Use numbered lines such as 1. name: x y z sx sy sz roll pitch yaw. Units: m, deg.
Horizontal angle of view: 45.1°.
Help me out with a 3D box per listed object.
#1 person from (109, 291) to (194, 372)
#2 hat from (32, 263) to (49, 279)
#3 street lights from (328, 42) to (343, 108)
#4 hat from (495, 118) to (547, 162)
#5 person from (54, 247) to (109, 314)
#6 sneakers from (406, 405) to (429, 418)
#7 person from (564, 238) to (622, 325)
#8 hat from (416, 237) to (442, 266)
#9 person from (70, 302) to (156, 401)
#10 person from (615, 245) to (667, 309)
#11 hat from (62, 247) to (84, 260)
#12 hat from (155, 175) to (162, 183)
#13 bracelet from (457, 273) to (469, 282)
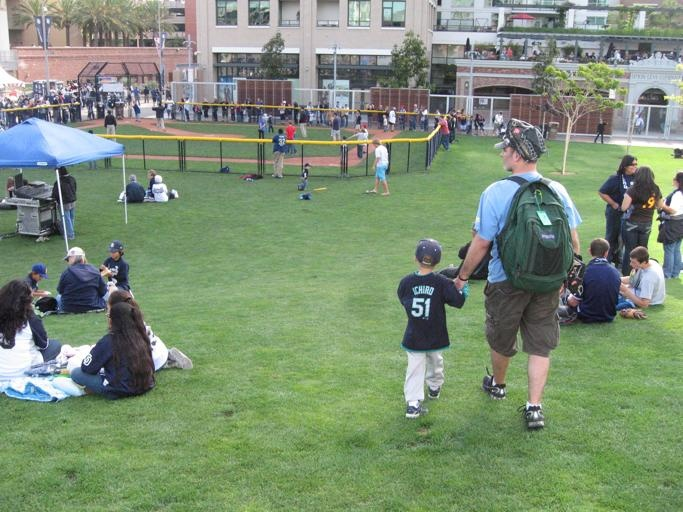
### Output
1. person: -2.826 1.241 12.000 0.879 0.615 1.507 -18 -31 32
2. hat: -5.173 0.255 14.054 0.223 0.274 0.284 -2 12 -19
3. street lights: -0.486 -12.568 57.419 0.906 4.508 0.852 4 9 17
4. hat: 2.327 -1.580 10.574 0.571 0.575 0.706 -27 25 -35
5. person: -4.771 0.440 15.006 0.961 1.173 1.255 0 1 -39
6. sneakers: 1.018 2.025 10.838 0.332 0.145 0.121 -6 8 -40
7. person: 4.021 0.409 13.570 1.157 1.314 1.064 0 0 27
8. hat: 1.130 -0.056 10.780 0.315 0.354 0.365 2 11 4
9. person: -3.201 1.222 11.790 1.203 1.443 1.099 4 12 -4
10. person: 4.914 0.297 13.940 1.003 1.099 0.985 3 25 26
11. hat: -5.177 -0.053 15.844 0.364 0.184 0.258 8 9 25
12. hat: -5.469 -2.309 24.530 0.162 0.208 0.442 1 11 -4
13. bracelet: 1.580 0.273 10.586 0.115 0.056 0.082 -9 14 -39
